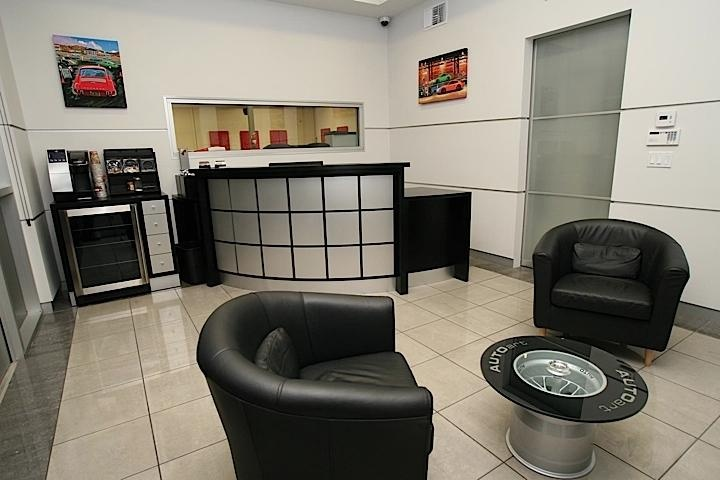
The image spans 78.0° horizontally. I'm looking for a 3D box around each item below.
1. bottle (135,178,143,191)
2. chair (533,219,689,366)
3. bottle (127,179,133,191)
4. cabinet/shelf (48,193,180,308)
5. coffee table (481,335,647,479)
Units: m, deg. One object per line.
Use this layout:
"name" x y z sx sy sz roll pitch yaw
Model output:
"bottle" -2.933 -0.737 5.904 0.082 0.179 0.109 0 15 12
"chair" 2.500 0.506 4.512 1.374 1.142 1.385 -12 18 -33
"bottle" -3.019 -0.720 5.896 0.060 0.137 0.061 -3 15 1
"cabinet/shelf" -3.070 0.146 5.543 1.280 1.209 0.617 -9 11 -30
"coffee table" 1.462 1.245 3.503 1.050 0.688 1.027 -11 24 -26
